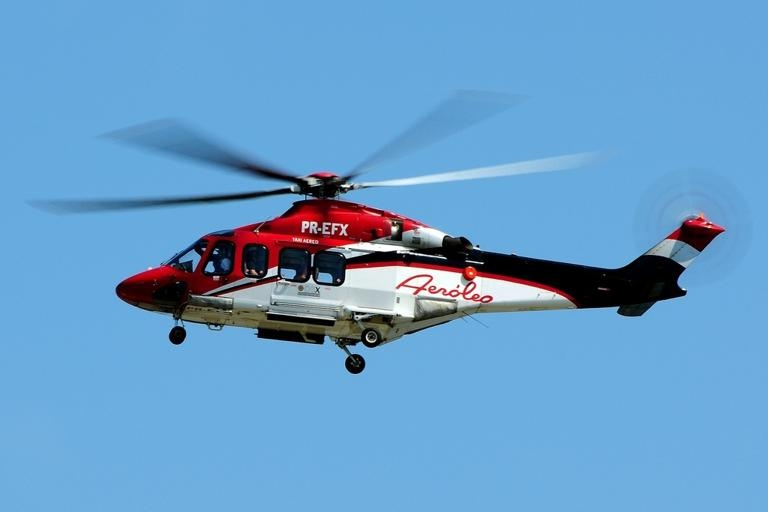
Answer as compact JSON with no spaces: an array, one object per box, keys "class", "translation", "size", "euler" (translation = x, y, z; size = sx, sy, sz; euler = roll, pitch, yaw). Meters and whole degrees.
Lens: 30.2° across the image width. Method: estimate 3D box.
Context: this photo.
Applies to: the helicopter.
[{"class":"helicopter","translation":[0.119,-0.263,34.227],"size":[16.779,3.176,5.632],"euler":[2,-48,-6]}]
